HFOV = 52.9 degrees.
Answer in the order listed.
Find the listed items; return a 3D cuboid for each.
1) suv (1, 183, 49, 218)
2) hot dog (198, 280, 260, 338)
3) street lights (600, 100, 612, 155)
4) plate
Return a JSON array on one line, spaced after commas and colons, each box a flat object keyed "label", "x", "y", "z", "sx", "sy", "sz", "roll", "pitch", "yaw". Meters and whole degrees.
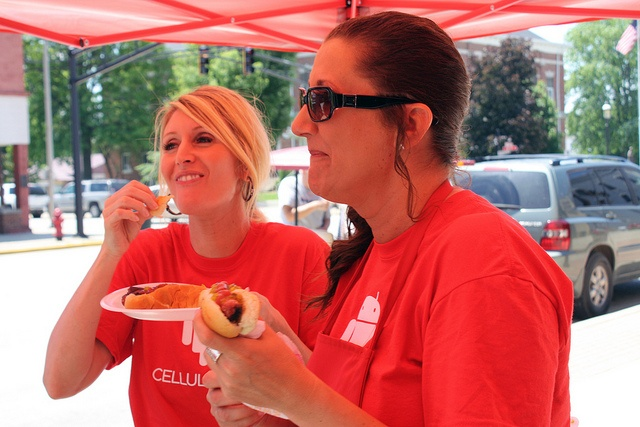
[{"label": "suv", "x": -13.876, "y": -0.572, "z": 30.490, "sx": 3.037, "sy": 1.547, "sz": 1.762, "roll": -4, "pitch": 7, "yaw": -11}, {"label": "hot dog", "x": -0.540, "y": 0.576, "z": 3.830, "sx": 0.211, "sy": 0.147, "sz": 0.389, "roll": -5, "pitch": 8, "yaw": -12}, {"label": "street lights", "x": 5.902, "y": -1.743, "z": 13.309, "sx": 0.177, "sy": 1.079, "sz": 0.780, "roll": 4, "pitch": 13, "yaw": 24}, {"label": "plate", "x": -1.195, "y": 0.640, "z": 4.320, "sx": 0.790, "sy": 0.115, "sz": 0.311, "roll": 7, "pitch": 13, "yaw": 36}]
